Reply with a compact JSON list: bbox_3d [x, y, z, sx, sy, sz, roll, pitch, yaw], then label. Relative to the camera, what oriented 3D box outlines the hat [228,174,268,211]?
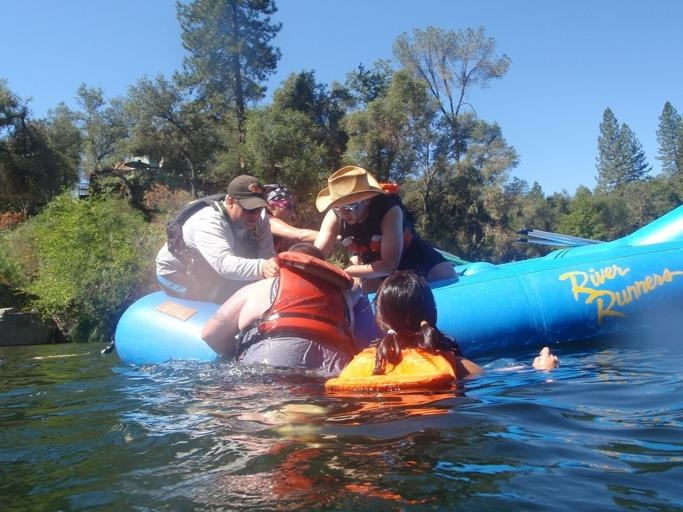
[{"bbox_3d":[-0.851,-0.640,4.614,0.362,0.260,0.486,-9,31,-38],"label":"hat"}]

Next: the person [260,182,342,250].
[{"bbox_3d":[-0.630,-0.369,5.748,0.923,0.357,0.678,33,18,31],"label":"person"}]

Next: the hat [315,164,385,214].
[{"bbox_3d":[0.081,-0.660,4.517,0.720,0.285,0.596,-16,27,-5],"label":"hat"}]

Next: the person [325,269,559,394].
[{"bbox_3d":[0.363,0.447,2.969,0.954,0.703,0.507,-3,0,-3],"label":"person"}]
